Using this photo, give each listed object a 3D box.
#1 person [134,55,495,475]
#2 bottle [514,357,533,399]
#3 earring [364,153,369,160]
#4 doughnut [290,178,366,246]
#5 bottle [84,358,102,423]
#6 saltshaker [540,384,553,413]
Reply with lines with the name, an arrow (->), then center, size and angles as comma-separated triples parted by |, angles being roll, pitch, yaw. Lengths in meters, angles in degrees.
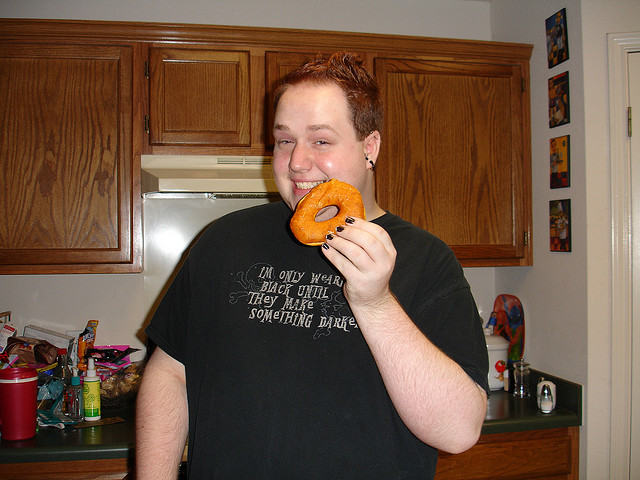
person -> -0.062, 0.082, 1.556 | 1.028, 1.227, 0.360 | -3, -3, 16
bottle -> 1.106, 0.757, 2.885 | 0.124, 0.192, 0.077 | 0, -4, -31
earring -> 0.140, -0.251, 1.616 | 0.003, 0.017, 0.025 | -3, -4, 17
doughnut -> 0.022, -0.079, 1.481 | 0.194, 0.185, 0.090 | 0, -4, -25
bottle -> -1.093, 0.725, 2.574 | 0.072, 0.299, 0.086 | 0, -4, -24
saltshaker -> 1.123, 0.789, 2.652 | 0.064, 0.131, 0.049 | -3, -3, 10
